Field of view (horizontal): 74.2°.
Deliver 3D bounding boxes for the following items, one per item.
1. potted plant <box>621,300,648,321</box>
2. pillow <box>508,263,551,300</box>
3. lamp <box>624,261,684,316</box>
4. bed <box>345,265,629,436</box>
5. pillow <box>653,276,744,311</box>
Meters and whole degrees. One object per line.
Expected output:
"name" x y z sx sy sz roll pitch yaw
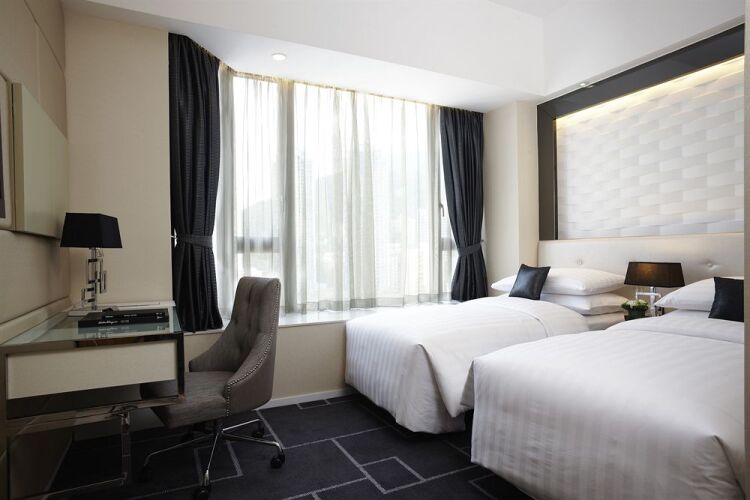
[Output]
"potted plant" 2.349 0.532 4.496 0.203 0.178 0.201 3 -4 -6
"pillow" 1.537 0.310 4.886 0.112 0.337 0.364 30 -6 -26
"lamp" 2.464 0.331 4.337 0.238 0.552 0.481 4 -5 -34
"bed" 0.996 0.684 4.311 1.855 0.814 1.410 2 -4 -23
"pillow" 2.527 0.377 4.000 0.373 0.107 0.348 -28 -3 -11
